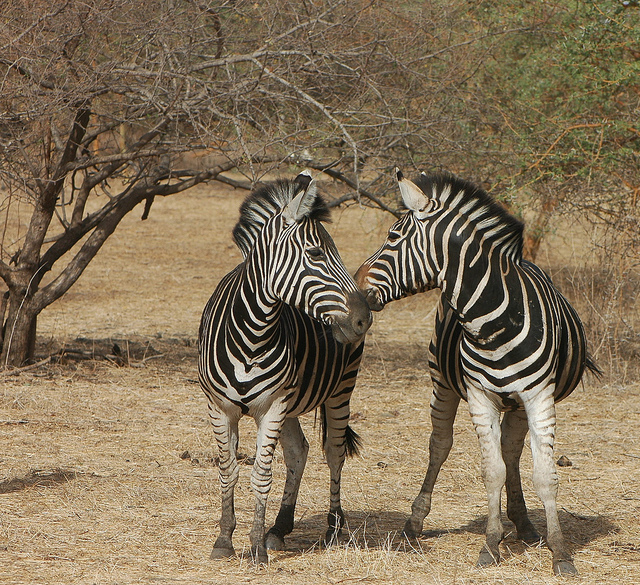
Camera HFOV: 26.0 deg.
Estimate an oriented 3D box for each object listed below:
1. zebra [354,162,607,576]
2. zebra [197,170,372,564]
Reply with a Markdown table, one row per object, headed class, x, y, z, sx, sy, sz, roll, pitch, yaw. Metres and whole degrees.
| class | x | y | z | sx | sy | sz | roll | pitch | yaw |
| --- | --- | --- | --- | --- | --- | --- | --- | --- | --- |
| zebra | 1.359 | 0.462 | 11.205 | 1.686 | 2.914 | 2.691 | 5 | 12 | 10 |
| zebra | -0.301 | 0.528 | 10.528 | 1.225 | 2.936 | 1.310 | 2 | 12 | -6 |
